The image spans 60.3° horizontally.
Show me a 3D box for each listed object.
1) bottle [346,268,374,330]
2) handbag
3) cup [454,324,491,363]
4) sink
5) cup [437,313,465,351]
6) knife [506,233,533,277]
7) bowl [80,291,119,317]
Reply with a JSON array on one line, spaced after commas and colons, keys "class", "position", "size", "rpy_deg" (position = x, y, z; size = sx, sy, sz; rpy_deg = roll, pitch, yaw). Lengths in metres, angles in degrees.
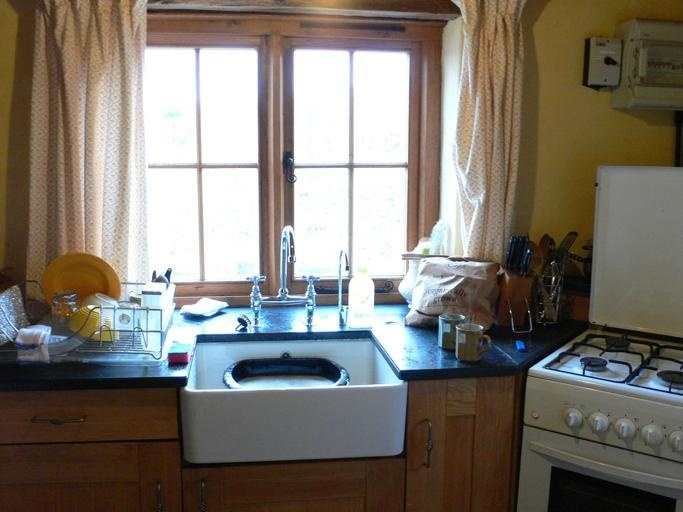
[{"class": "bottle", "position": [0.091, 0.177, 2.825], "size": [0.124, 0.249, 0.103], "rpy_deg": [-1, 8, -4]}, {"class": "handbag", "position": [0.494, 0.152, 2.646], "size": [0.322, 0.335, 0.108], "rpy_deg": [-4, -32, 37]}, {"class": "cup", "position": [0.503, 0.340, 2.343], "size": [0.104, 0.144, 0.157], "rpy_deg": [-6, 10, -32]}, {"class": "sink", "position": [-0.201, 0.583, 2.276], "size": [0.537, 0.193, 0.579], "rpy_deg": [-1, 15, -7]}, {"class": "cup", "position": [0.440, 0.307, 2.478], "size": [0.093, 0.139, 0.148], "rpy_deg": [0, 10, 0]}, {"class": "knife", "position": [0.813, -0.009, 2.705], "size": [0.122, 0.172, 0.236], "rpy_deg": [2, 9, 16]}, {"class": "bowl", "position": [-0.946, 0.181, 2.314], "size": [0.096, 0.066, 0.097], "rpy_deg": [24, -1, 0]}]
